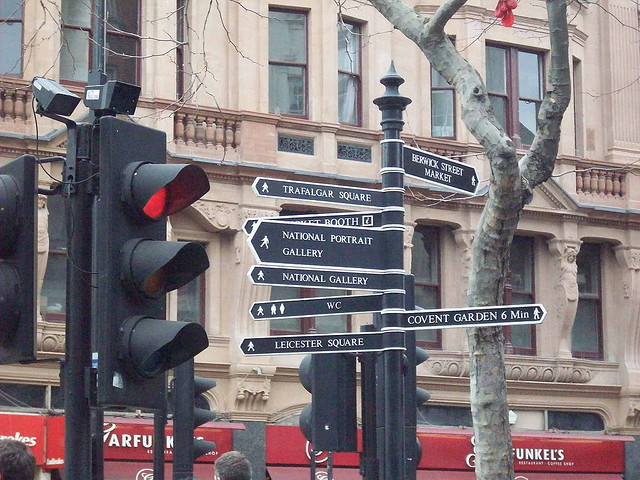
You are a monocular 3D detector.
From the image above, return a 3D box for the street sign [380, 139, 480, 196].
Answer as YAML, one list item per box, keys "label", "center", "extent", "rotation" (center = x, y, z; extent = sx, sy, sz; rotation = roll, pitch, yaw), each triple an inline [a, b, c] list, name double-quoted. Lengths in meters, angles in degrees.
- label: "street sign"
  center: [1.549, -1.046, 26.742]
  extent: [1.719, 0.721, 0.343]
  rotation: [10, -21, -32]

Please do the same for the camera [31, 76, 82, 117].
- label: "camera"
  center: [-3.228, -1.875, 24.606]
  extent: [0.584, 0.520, 0.353]
  rotation: [3, -8, -7]

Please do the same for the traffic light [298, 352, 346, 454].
- label: "traffic light"
  center: [0.078, 2.204, 27.143]
  extent: [0.532, 1.344, 0.756]
  rotation: [4, -9, -15]

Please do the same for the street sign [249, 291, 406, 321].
- label: "street sign"
  center: [0.172, 0.845, 26.473]
  extent: [1.925, 0.372, 0.031]
  rotation: [-3, -40, -1]

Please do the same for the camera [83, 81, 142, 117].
- label: "camera"
  center: [-2.579, -1.785, 24.627]
  extent: [0.680, 0.468, 0.550]
  rotation: [1, -4, 26]
